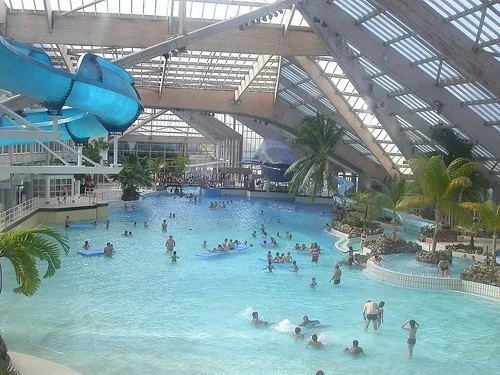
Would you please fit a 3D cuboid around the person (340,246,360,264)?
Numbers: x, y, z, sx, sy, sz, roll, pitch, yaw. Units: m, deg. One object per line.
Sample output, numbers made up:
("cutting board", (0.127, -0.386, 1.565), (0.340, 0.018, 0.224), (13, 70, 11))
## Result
("person", (4.997, 3.456, 19.823), (0.953, 0.892, 0.930), (2, -4, 14))
